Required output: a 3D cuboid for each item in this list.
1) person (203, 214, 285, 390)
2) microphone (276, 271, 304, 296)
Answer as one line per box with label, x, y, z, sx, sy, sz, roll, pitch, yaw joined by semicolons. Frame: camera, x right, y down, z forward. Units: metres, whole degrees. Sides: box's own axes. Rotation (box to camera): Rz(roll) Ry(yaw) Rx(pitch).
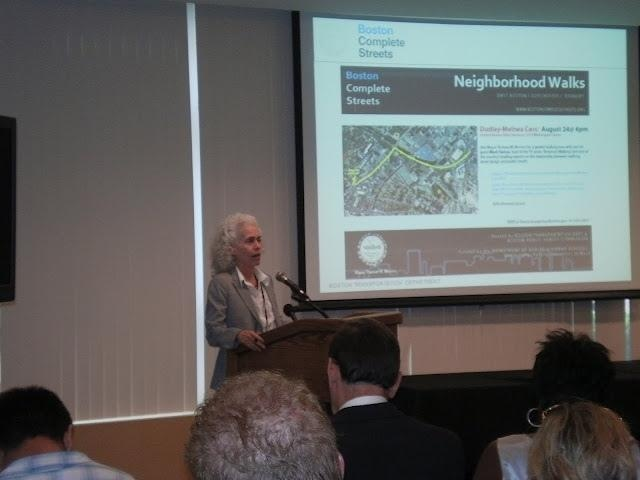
person;-0.419;0.356;3.094;0.410;0.960;0.724;-4;6;-5
microphone;-0.165;0.239;3.158;0.132;0.158;0.419;-4;7;-3
